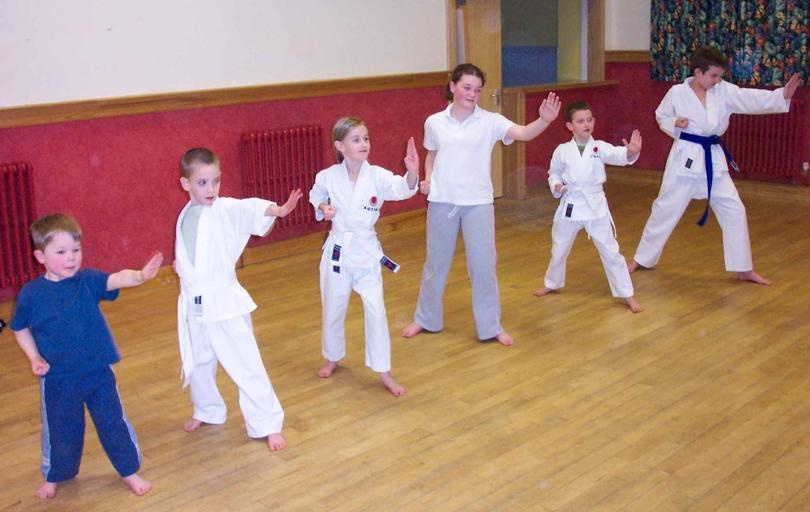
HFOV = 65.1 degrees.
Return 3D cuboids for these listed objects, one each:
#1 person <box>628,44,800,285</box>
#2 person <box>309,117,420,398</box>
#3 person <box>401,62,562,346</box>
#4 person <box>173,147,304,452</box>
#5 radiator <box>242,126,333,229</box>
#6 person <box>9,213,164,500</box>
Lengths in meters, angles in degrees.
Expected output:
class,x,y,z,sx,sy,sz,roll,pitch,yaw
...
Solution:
class,x,y,z,sx,sy,sz,roll,pitch,yaw
person,2.416,-0.728,5.050,1.017,1.778,0.467,7,23,25
person,-0.266,-0.010,3.871,0.719,1.600,0.472,6,23,25
person,0.426,-0.322,4.232,0.934,1.819,0.413,1,21,11
person,-0.959,0.227,3.461,0.697,1.567,0.474,3,21,16
radiator,-1.126,-0.768,5.894,0.895,0.895,0.235,-11,18,-30
person,-1.563,0.624,3.181,0.659,1.136,0.348,-3,20,0
